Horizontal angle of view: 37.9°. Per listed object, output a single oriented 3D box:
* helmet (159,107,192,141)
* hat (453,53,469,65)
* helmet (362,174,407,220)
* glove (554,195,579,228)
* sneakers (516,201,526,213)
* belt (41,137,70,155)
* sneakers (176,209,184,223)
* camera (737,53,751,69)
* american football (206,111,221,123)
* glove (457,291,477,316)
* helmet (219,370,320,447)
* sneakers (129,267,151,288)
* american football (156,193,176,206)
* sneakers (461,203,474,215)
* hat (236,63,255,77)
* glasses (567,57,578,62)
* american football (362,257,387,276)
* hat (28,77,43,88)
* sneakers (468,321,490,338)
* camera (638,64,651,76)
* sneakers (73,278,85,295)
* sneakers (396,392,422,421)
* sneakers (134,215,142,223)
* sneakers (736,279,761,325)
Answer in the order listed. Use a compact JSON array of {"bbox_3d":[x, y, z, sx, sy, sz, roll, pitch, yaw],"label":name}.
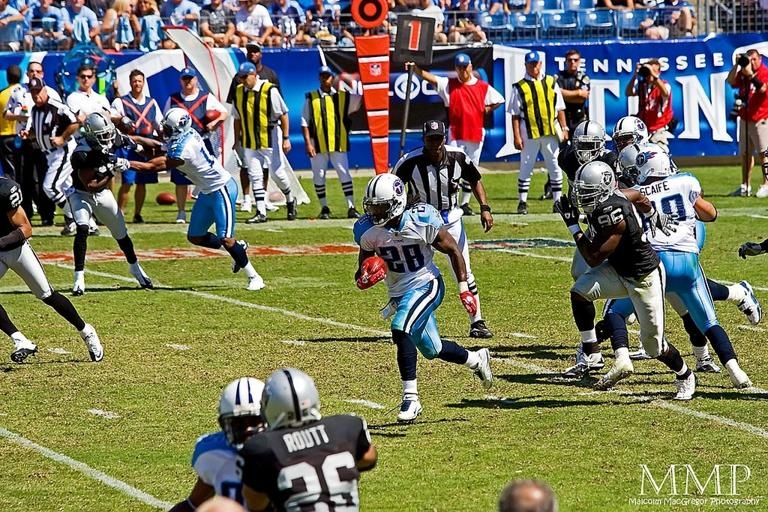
[{"bbox_3d":[-2.506,-1.628,13.346,0.379,0.395,0.334,-19,50,-25],"label":"helmet"},{"bbox_3d":[1.179,-2.942,16.972,0.185,0.173,0.334,-1,12,-3],"label":"hat"},{"bbox_3d":[-0.024,-0.521,9.449,0.288,0.342,0.409,-4,30,37],"label":"helmet"},{"bbox_3d":[1.639,-0.398,10.083,0.103,0.276,0.203,-29,-3,22],"label":"glove"},{"bbox_3d":[2.256,-0.792,18.473,0.189,0.252,0.576,-1,-3,8],"label":"sneakers"},{"bbox_3d":[-4.821,-1.611,16.308,0.270,0.220,0.270,0,9,27],"label":"belt"},{"bbox_3d":[-3.341,-0.643,18.205,0.150,0.215,0.397,-3,13,-11],"label":"sneakers"},{"bbox_3d":[6.309,-3.389,19.639,0.201,0.201,0.419,3,13,16],"label":"camera"},{"bbox_3d":[-2.707,-2.177,17.505,0.200,0.162,0.182,-15,-6,26],"label":"american football"},{"bbox_3d":[0.718,0.409,9.700,0.136,0.227,0.082,-25,11,0],"label":"glove"},{"bbox_3d":[-0.714,0.911,6.832,0.435,0.479,0.583,-2,17,-20],"label":"helmet"},{"bbox_3d":[-2.992,0.249,13.677,0.252,0.263,0.339,-4,13,-13],"label":"sneakers"},{"bbox_3d":[-4.051,-1.024,20.590,0.249,0.211,0.329,-2,-1,-3],"label":"american football"},{"bbox_3d":[1.353,-0.749,18.284,0.127,0.172,0.388,-2,-1,0],"label":"sneakers"},{"bbox_3d":[-2.209,-2.938,17.736,0.280,0.158,0.191,-5,8,-37],"label":"hat"},{"bbox_3d":[3.104,-3.197,18.427,0.165,0.052,0.088,-6,13,-21],"label":"glasses"},{"bbox_3d":[-0.098,0.076,9.338,0.200,0.124,0.250,-1,12,0],"label":"american football"},{"bbox_3d":[-5.096,-2.498,16.278,0.207,0.156,0.320,-5,13,-18],"label":"hat"},{"bbox_3d":[0.963,0.759,11.358,0.237,0.161,0.126,3,5,35],"label":"sneakers"},{"bbox_3d":[4.125,-2.916,17.724,0.177,0.194,0.254,2,13,12],"label":"camera"},{"bbox_3d":[-3.660,0.360,13.300,0.124,0.203,0.082,-9,-6,-4],"label":"sneakers"},{"bbox_3d":[0.220,1.244,9.215,0.309,0.232,0.136,-13,17,-43],"label":"sneakers"},{"bbox_3d":[-4.013,-0.597,18.088,0.141,0.159,0.258,-3,13,-12],"label":"sneakers"},{"bbox_3d":[3.653,0.493,11.228,0.188,0.444,0.155,-37,23,-26],"label":"sneakers"}]
